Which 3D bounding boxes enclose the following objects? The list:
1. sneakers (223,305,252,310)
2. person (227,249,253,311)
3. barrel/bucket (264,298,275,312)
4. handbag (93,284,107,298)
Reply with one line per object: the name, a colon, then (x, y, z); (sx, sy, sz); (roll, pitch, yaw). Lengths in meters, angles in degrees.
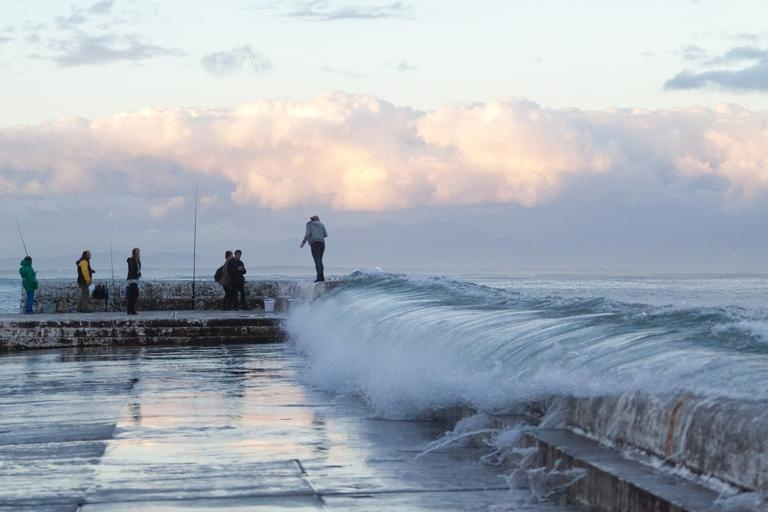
sneakers: (-3.044, 1.055, 24.558); (0.631, 0.077, 0.041); (4, -27, -19)
person: (-2.995, 0.478, 24.404); (0.345, 1.199, 1.324); (-5, 3, -7)
barrel/bucket: (-2.359, 0.985, 24.653); (0.296, 0.279, 0.248); (0, -5, -6)
handbag: (-5.898, 0.720, 24.902); (0.255, 0.301, 0.171); (3, -25, -14)
